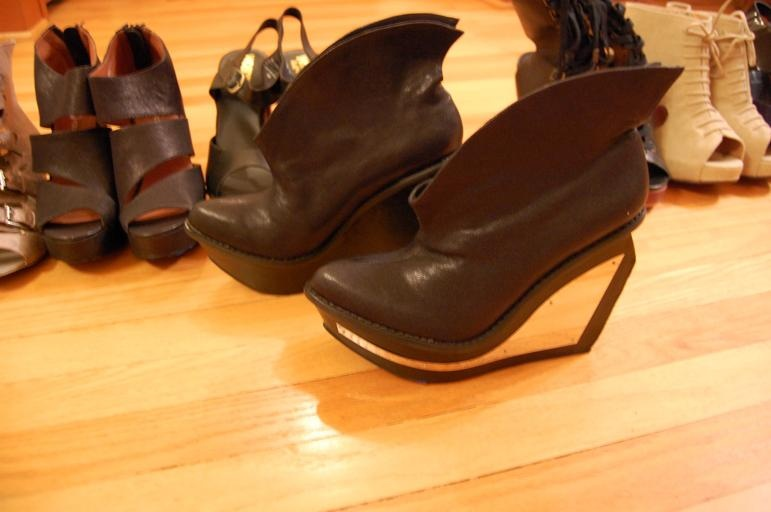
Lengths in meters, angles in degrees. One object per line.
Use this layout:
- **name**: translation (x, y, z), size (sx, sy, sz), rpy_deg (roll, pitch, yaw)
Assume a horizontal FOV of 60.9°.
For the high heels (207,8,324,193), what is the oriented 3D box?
- **high heels**: translation (-0.276, -0.390, 1.541), size (0.193, 0.191, 0.527), rpy_deg (-2, 45, -3)
